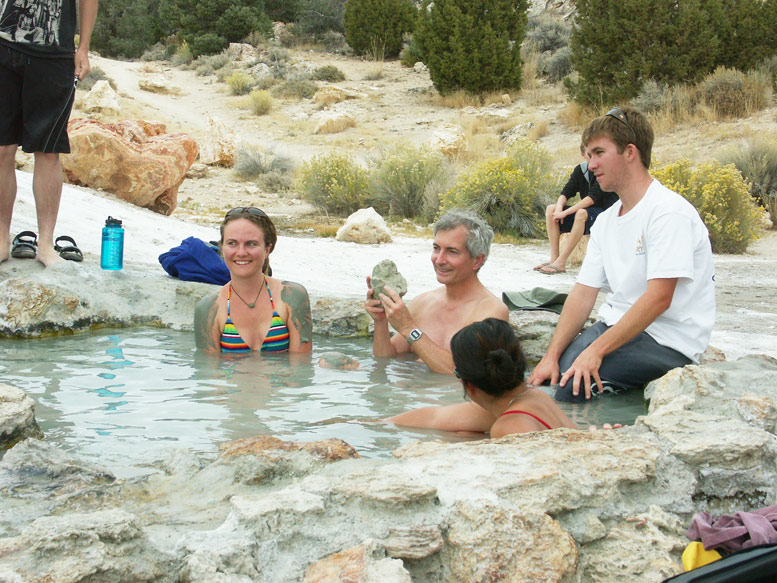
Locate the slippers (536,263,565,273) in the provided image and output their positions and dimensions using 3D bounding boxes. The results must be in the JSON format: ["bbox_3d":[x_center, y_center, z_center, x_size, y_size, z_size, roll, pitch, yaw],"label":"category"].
[{"bbox_3d":[2.029,-0.276,9.548,0.231,0.080,0.145,4,-3,-21],"label":"slippers"}]

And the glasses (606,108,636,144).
[{"bbox_3d":[1.495,-1.080,4.885,0.062,0.207,0.203,-38,48,-11],"label":"glasses"}]

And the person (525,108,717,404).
[{"bbox_3d":[1.553,-0.242,4.999,1.072,1.882,0.834,5,8,25],"label":"person"}]

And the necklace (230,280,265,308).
[{"bbox_3d":[-1.033,0.047,5.618,0.224,0.193,0.095,-5,-35,-13],"label":"necklace"}]

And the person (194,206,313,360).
[{"bbox_3d":[-0.983,-0.068,5.601,0.850,1.064,0.418,0,8,-12],"label":"person"}]

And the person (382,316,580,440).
[{"bbox_3d":[0.562,0.466,4.114,0.546,0.657,0.858,-4,9,-39],"label":"person"}]

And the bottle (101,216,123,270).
[{"bbox_3d":[-2.505,-0.427,6.945,0.197,0.484,0.327,-1,8,-21],"label":"bottle"}]
